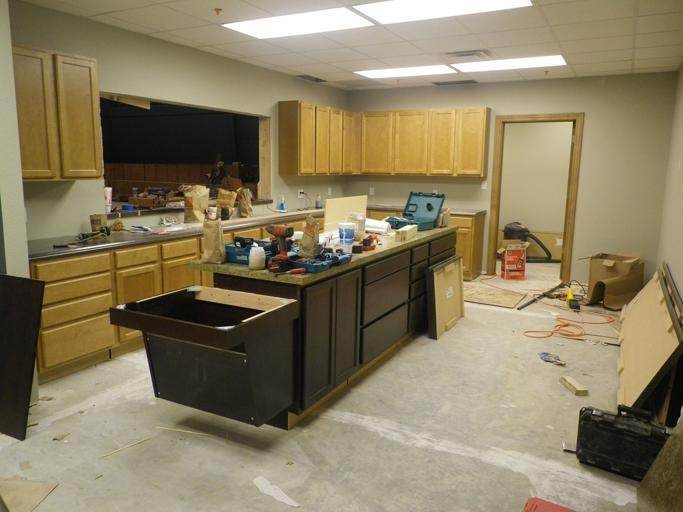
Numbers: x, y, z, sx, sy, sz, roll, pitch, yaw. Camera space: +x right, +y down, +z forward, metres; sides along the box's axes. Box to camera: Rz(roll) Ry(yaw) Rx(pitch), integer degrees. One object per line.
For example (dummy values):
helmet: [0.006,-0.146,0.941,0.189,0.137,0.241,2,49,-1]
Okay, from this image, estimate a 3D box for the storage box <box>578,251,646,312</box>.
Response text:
storage box: [3.308,0.294,6.124,0.723,0.674,0.678,-4,6,-41]

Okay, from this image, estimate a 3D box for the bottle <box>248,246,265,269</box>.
bottle: [-0.588,0.018,3.415,0.142,0.150,0.134,2,5,24]

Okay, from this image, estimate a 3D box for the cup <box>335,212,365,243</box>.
cup: [0.089,-0.254,4.227,0.229,0.209,0.462,0,12,3]

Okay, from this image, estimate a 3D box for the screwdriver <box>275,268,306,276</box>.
screwdriver: [-0.351,0.104,3.328,0.213,0.035,0.118,0,12,0]

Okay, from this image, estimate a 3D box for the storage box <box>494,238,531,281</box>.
storage box: [2.555,0.038,7.252,0.365,0.582,0.401,4,14,19]

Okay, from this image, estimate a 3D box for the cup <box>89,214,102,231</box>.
cup: [-2.291,-0.313,4.596,0.116,0.157,0.157,-5,14,-20]

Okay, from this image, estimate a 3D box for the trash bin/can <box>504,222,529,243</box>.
trash bin/can: [2.902,-0.408,8.164,0.418,0.290,0.370,6,10,35]

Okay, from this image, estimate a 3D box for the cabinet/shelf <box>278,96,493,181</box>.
cabinet/shelf: [0.594,-1.735,7.329,3.032,1.031,1.151,-2,13,-8]

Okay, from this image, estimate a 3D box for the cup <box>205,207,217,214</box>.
cup: [-1.518,-0.527,5.763,0.083,0.113,0.268,-2,12,-8]
